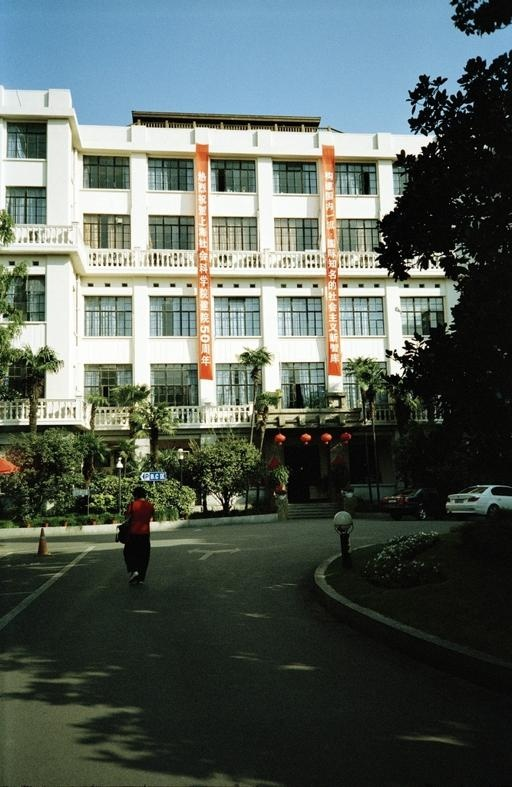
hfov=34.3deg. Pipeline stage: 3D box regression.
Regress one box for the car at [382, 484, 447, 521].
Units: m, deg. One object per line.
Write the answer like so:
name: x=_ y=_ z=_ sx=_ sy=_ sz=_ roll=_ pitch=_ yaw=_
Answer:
car: x=5.957 y=4.052 z=30.497 sx=2.071 sy=0.923 sz=1.057 roll=-1 pitch=-2 yaw=-40

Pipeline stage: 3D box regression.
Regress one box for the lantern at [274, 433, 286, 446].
lantern: x=0.926 y=2.080 z=35.779 sx=0.561 sy=0.675 sz=0.572 roll=-3 pitch=1 yaw=25

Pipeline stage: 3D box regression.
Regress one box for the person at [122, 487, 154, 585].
person: x=-1.821 y=2.212 z=12.817 sx=0.453 sy=1.449 sz=0.834 roll=-3 pitch=-5 yaw=-9
